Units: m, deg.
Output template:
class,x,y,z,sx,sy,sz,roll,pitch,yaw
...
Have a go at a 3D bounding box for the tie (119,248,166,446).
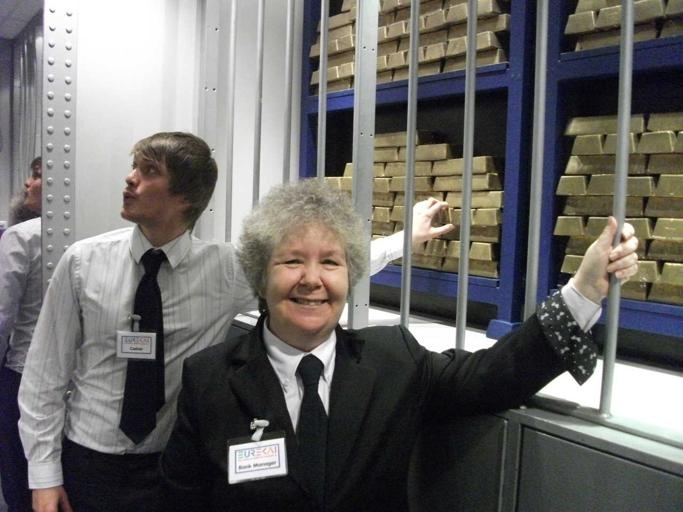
class,x,y,z,sx,sy,sz,roll,pitch,yaw
tie,-0.651,0.289,1.964,0.122,0.596,0.224,-1,8,0
